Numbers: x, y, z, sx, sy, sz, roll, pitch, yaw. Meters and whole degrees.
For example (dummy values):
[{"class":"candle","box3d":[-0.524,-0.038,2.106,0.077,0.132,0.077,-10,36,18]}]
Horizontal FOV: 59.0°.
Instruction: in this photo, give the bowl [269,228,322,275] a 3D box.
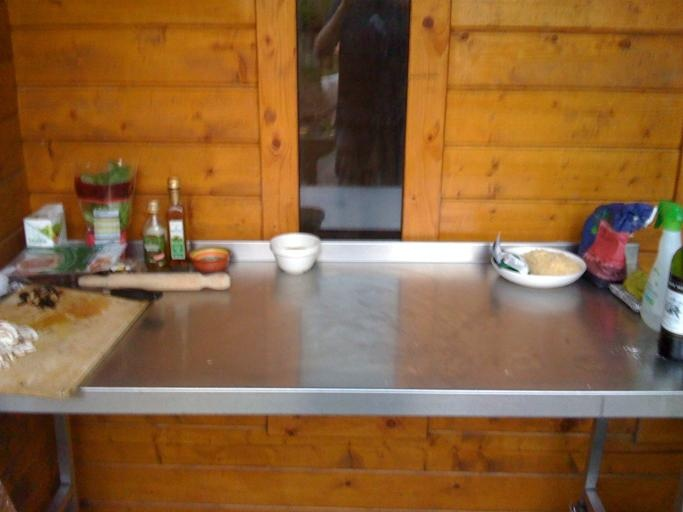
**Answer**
[{"class":"bowl","box3d":[-0.140,0.006,1.895,0.150,0.096,0.154,-1,13,0]}]

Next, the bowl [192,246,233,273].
[{"class":"bowl","box3d":[-0.402,-0.001,1.862,0.092,0.041,0.084,5,20,-2]}]

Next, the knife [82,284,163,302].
[{"class":"knife","box3d":[-0.630,0.105,1.707,0.154,0.023,0.029,8,0,-1]}]
